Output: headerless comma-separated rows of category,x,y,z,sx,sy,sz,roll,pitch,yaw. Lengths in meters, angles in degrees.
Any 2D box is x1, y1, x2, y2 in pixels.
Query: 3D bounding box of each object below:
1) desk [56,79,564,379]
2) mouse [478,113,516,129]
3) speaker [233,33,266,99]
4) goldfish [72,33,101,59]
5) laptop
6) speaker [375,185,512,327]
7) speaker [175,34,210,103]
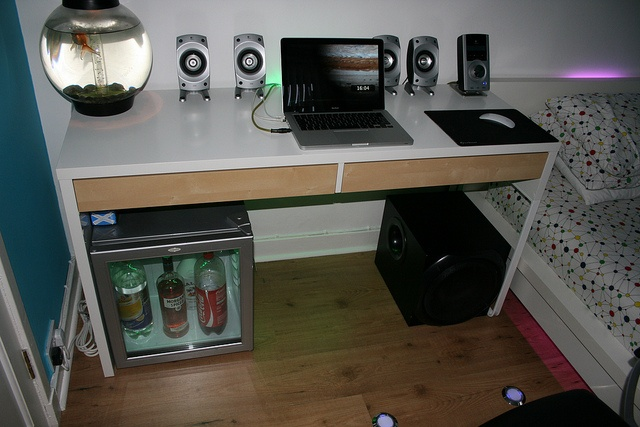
desk,-0.015,0.060,2.453,2.114,1.084,0.712,-5,28,-13
mouse,0.824,-0.441,2.169,0.133,0.031,0.077,21,40,19
speaker,-0.329,-0.696,2.165,0.165,0.290,0.155,-3,7,-9
goldfish,-0.963,-0.689,1.900,0.104,0.102,0.042,-18,36,-20
laptop,0.115,-0.550,2.038,0.596,0.337,0.522,-17,38,-29
speaker,0.595,0.230,2.544,0.613,0.667,0.640,-7,-2,-13
speaker,-0.606,-0.706,2.218,0.178,0.279,0.231,-5,22,-18
